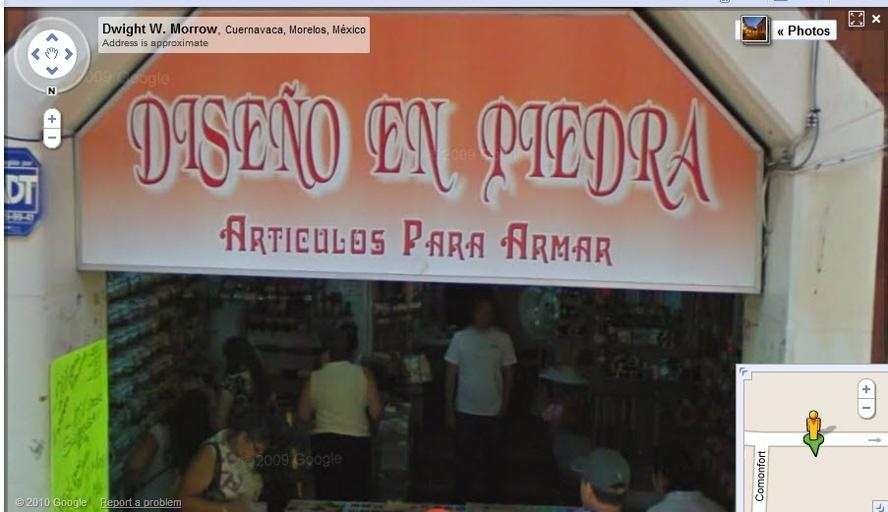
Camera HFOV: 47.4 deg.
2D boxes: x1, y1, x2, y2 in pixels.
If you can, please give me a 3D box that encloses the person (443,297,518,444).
[{"bbox_3d":[0.209,0.637,5.745,0.399,0.783,0.142,1,-5,1],"label":"person"}]
